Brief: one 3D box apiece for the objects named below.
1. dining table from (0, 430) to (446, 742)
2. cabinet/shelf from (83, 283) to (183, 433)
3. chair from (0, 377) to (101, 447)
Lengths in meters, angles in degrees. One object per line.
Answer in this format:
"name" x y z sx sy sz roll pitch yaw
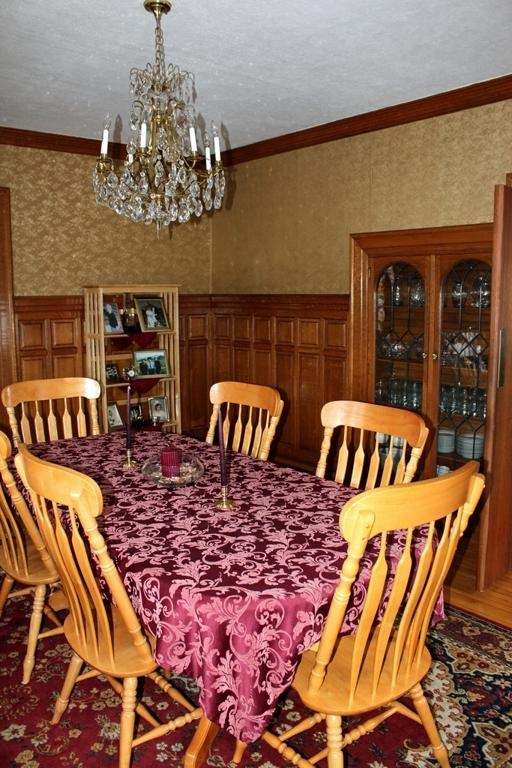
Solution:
"dining table" -0.124 0.581 1.506 0.506 0.207 0.859 -10 18 -32
"cabinet/shelf" -1.091 -0.180 4.732 0.517 1.324 0.970 7 13 36
"chair" -1.211 0.154 3.181 0.351 0.572 0.378 -9 18 -31
